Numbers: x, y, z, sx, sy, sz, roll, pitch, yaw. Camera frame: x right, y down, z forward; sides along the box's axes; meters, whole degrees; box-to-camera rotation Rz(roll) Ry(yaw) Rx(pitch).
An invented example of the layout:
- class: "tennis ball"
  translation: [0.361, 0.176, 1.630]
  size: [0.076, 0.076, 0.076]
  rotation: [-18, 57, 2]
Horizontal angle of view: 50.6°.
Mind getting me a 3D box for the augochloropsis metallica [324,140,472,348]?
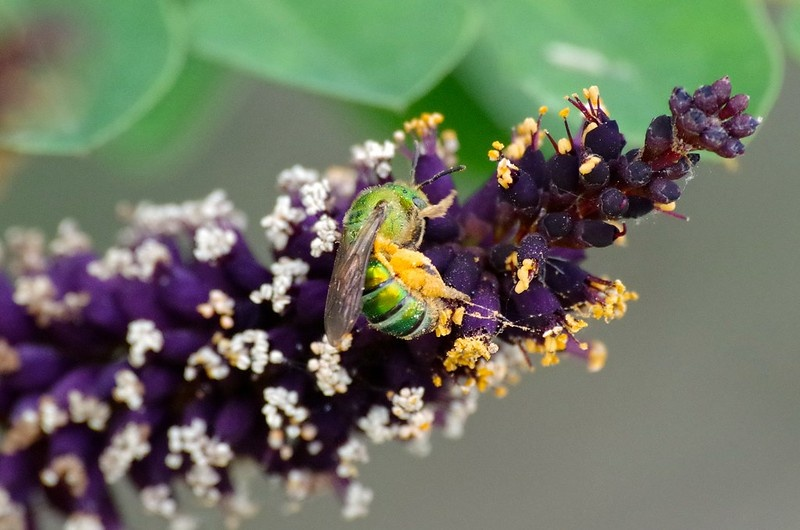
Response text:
- class: "augochloropsis metallica"
  translation: [-0.010, -0.017, 1.636]
  size: [0.309, 0.316, 0.081]
  rotation: [-10, -23, -7]
